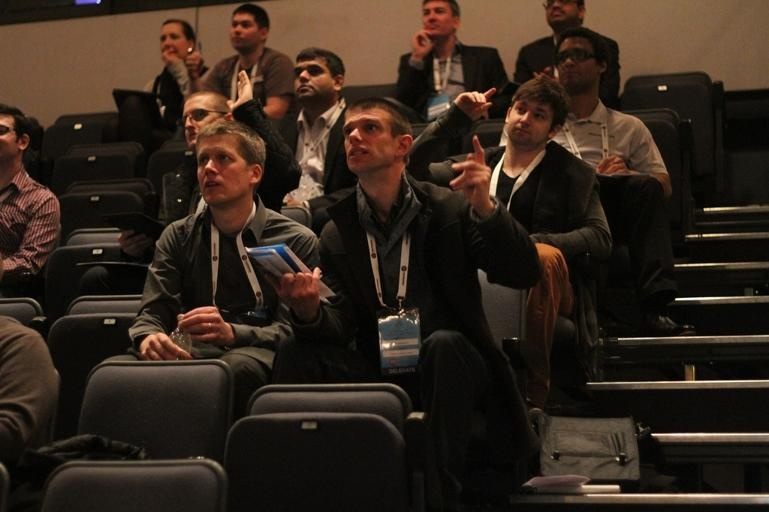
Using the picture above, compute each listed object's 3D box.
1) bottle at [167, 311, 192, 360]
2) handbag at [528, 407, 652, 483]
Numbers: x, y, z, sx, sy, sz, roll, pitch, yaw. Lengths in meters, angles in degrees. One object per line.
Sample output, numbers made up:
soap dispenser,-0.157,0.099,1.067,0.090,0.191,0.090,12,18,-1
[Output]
bottle,-0.875,0.361,3.826,0.053,0.176,0.123,-4,44,-16
handbag,0.880,0.821,3.757,0.358,0.131,0.358,2,41,2
